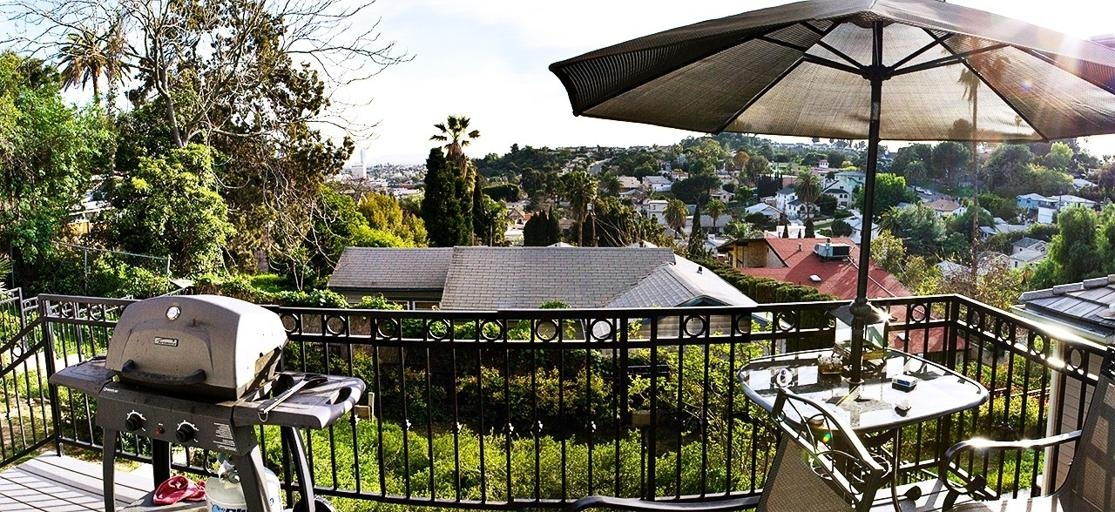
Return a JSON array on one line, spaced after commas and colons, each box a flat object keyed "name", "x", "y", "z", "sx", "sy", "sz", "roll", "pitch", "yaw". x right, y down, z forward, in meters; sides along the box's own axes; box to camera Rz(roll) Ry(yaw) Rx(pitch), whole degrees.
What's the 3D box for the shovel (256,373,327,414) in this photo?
[{"name": "shovel", "x": -6.522, "y": 3.292, "z": 18.955, "sx": 0.833, "sy": 0.319, "sz": 1.456, "roll": 16, "pitch": 33, "yaw": 33}]
